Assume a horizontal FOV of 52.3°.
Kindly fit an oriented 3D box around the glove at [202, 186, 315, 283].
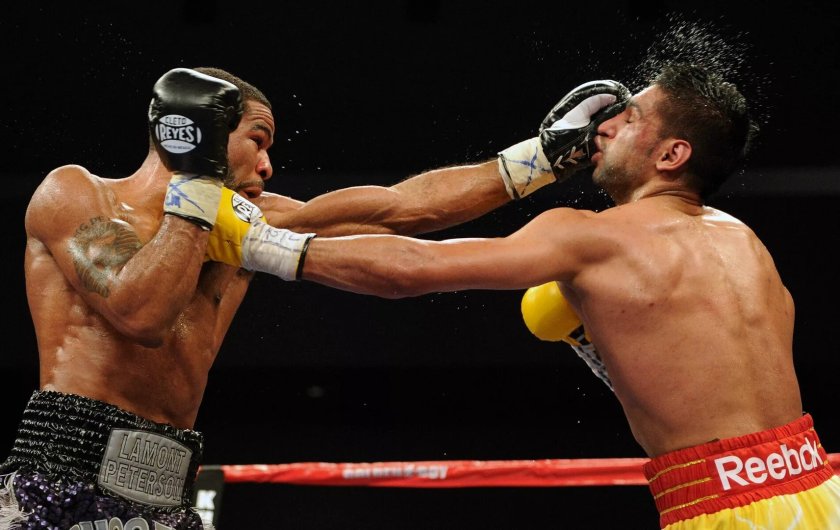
[{"bbox_3d":[-0.766,-0.119,4.126,0.754,0.245,0.421,24,22,36],"label":"glove"}]
